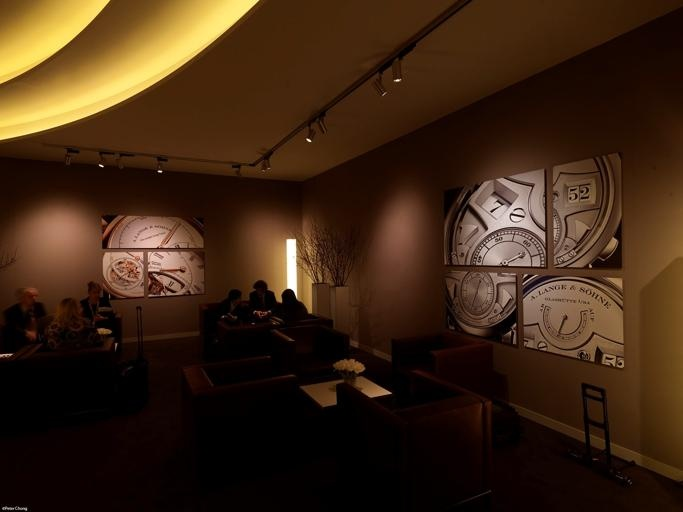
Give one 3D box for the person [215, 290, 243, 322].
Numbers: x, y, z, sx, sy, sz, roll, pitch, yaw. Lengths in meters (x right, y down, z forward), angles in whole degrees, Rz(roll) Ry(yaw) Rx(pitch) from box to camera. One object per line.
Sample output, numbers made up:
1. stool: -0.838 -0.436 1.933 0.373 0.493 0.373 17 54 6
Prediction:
1. person: -1.826 0.816 7.478 0.274 0.855 0.331 2 9 -31
